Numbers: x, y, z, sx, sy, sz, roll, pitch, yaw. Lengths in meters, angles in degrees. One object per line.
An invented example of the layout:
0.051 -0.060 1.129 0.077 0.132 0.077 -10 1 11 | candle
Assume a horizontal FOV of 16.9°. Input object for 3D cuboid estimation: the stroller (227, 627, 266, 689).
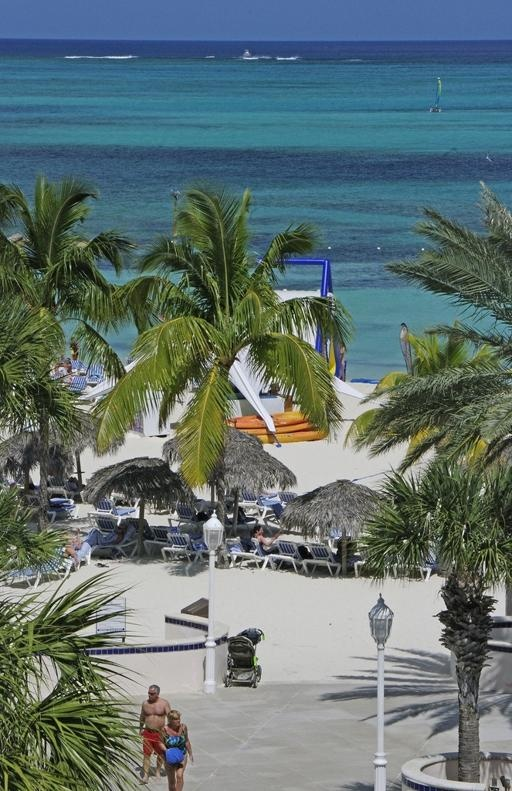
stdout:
-0.184 2.937 18.772 0.379 0.559 0.442 -2 -6 4 | stroller
